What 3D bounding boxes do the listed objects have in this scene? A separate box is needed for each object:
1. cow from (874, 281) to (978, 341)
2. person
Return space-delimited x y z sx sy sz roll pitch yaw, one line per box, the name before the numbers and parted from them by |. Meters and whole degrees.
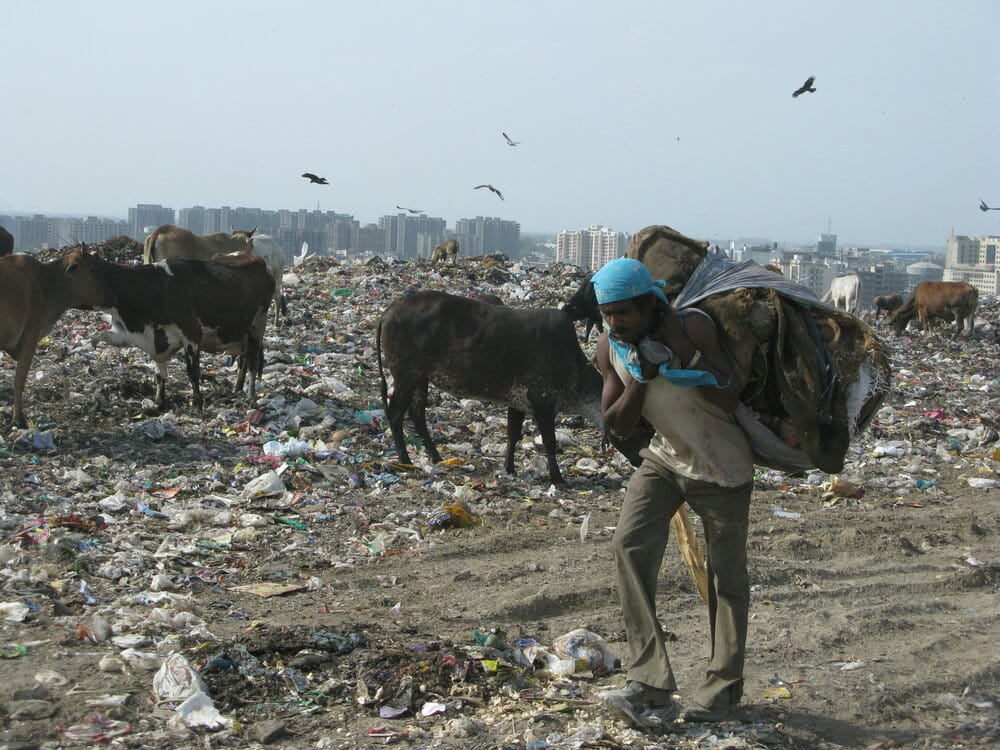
cow | 7.673 -1.169 19.712 0.604 0.922 2.078 -1 6 -15
person | 0.926 0.635 6.118 0.856 2.509 0.317 1 6 11
